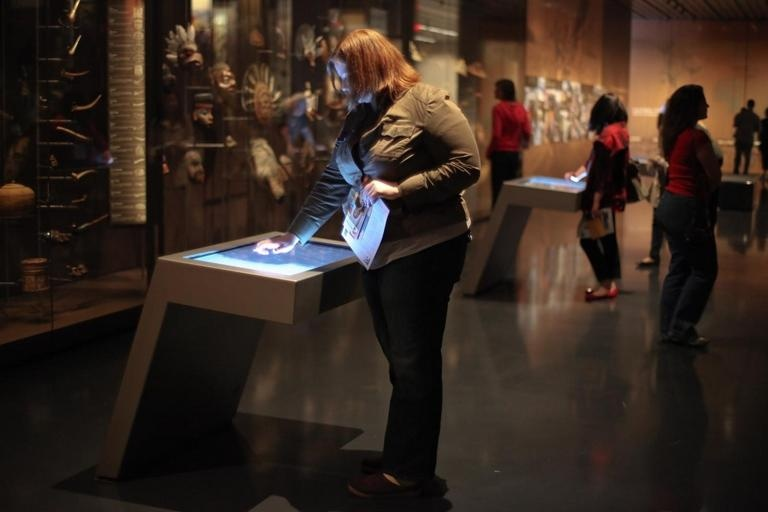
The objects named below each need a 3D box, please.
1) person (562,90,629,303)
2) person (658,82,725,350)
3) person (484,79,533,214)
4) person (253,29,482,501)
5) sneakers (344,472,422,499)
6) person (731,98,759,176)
[{"bbox_3d":[2.189,-0.547,6.068,0.433,2.024,0.716,5,14,22],"label":"person"},{"bbox_3d":[2.410,-0.287,4.838,0.500,2.038,0.406,8,15,31],"label":"person"},{"bbox_3d":[1.862,-1.627,9.082,0.612,1.877,0.824,2,13,11],"label":"person"},{"bbox_3d":[0.029,0.052,3.125,0.873,2.308,0.561,2,13,12],"label":"person"},{"bbox_3d":[-0.009,1.168,3.196,0.371,0.151,0.136,3,-2,3],"label":"sneakers"},{"bbox_3d":[6.213,-2.059,10.471,0.378,1.159,0.439,7,14,28],"label":"person"}]
